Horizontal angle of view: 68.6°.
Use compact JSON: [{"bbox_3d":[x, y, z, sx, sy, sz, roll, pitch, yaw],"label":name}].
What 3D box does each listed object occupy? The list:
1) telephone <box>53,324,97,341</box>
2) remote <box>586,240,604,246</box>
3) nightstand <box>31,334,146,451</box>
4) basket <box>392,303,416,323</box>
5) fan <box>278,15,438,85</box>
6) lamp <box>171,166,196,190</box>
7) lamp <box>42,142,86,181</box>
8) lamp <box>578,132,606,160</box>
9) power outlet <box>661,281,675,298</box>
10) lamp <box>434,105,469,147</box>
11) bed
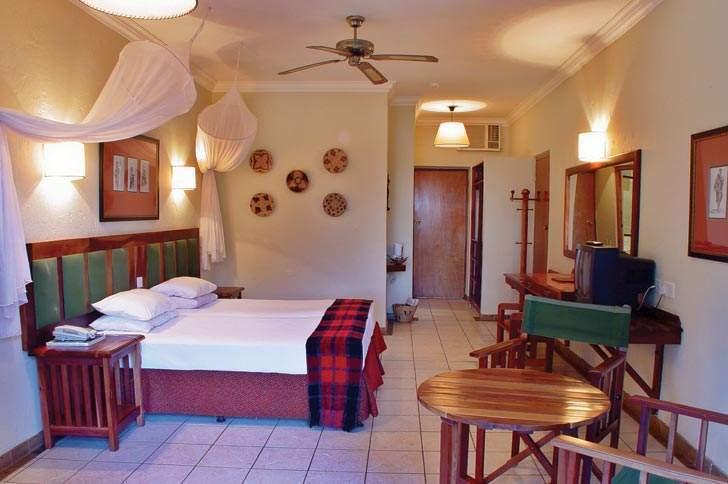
[{"bbox_3d":[-2.413,0.756,4.456,0.218,0.072,0.171,0,2,-8],"label":"telephone"},{"bbox_3d":[2.222,0.008,5.160,0.133,0.031,0.122,2,8,13],"label":"remote"},{"bbox_3d":[-2.363,1.223,4.830,0.910,1.090,0.807,0,6,5],"label":"nightstand"},{"bbox_3d":[0.569,1.010,7.696,0.269,0.173,0.270,0,-8,6],"label":"basket"},{"bbox_3d":[-0.007,-1.895,5.374,0.964,0.605,1.578,-1,11,-3],"label":"fan"},{"bbox_3d":[-2.039,-0.717,6.058,0.263,0.267,0.259,0,-3,-12],"label":"lamp"},{"bbox_3d":[-2.560,-0.682,4.525,0.291,0.312,0.299,-2,3,0],"label":"lamp"},{"bbox_3d":[2.345,-0.999,5.621,0.287,0.310,0.283,0,3,-7],"label":"lamp"},{"bbox_3d":[2.594,0.397,4.539,0.052,0.131,0.159,-2,0,-11],"label":"power outlet"},{"bbox_3d":[1.259,-1.673,7.808,0.653,0.672,0.648,0,1,4],"label":"lamp"},{"bbox_3d":[-1.595,0.722,4.990,2.122,1.101,2.118,1,5,2],"label":"bed"}]
